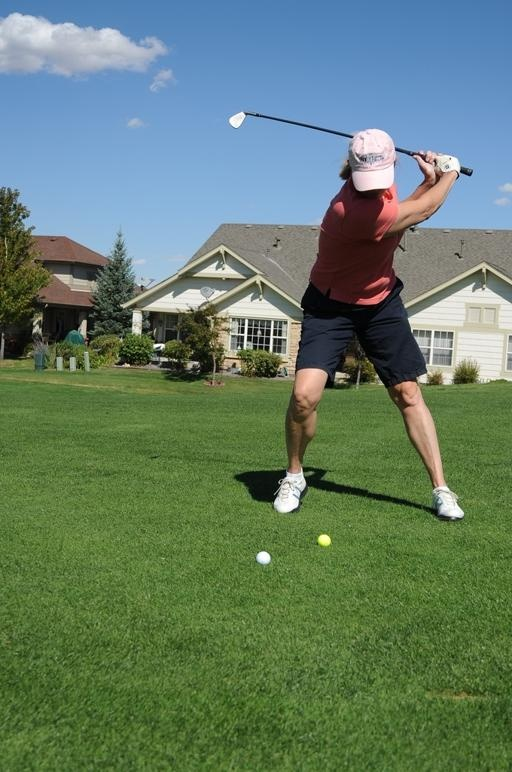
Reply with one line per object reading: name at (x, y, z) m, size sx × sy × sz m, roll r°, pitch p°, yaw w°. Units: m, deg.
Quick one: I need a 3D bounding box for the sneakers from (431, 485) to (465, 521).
sneakers at (1.197, 0.727, 3.615) m, size 0.180 × 0.157 × 0.269 m, roll 2°, pitch 4°, yaw 14°

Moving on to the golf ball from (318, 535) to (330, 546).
golf ball at (0.353, 0.818, 3.086) m, size 0.048 × 0.049 × 0.058 m, roll -34°, pitch 26°, yaw 23°

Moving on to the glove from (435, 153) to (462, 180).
glove at (1.158, -1.331, 3.519) m, size 0.159 × 0.182 × 0.234 m, roll 2°, pitch 4°, yaw 17°

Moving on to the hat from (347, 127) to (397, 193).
hat at (0.590, -1.190, 3.024) m, size 0.253 × 0.392 × 0.192 m, roll 7°, pitch -35°, yaw 16°

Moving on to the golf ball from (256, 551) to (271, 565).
golf ball at (0.031, 0.836, 2.809) m, size 0.054 × 0.052 × 0.054 m, roll -12°, pitch -35°, yaw -8°

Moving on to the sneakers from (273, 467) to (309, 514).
sneakers at (0.214, 0.682, 3.771) m, size 0.119 × 0.135 × 0.312 m, roll 0°, pitch 11°, yaw 15°
